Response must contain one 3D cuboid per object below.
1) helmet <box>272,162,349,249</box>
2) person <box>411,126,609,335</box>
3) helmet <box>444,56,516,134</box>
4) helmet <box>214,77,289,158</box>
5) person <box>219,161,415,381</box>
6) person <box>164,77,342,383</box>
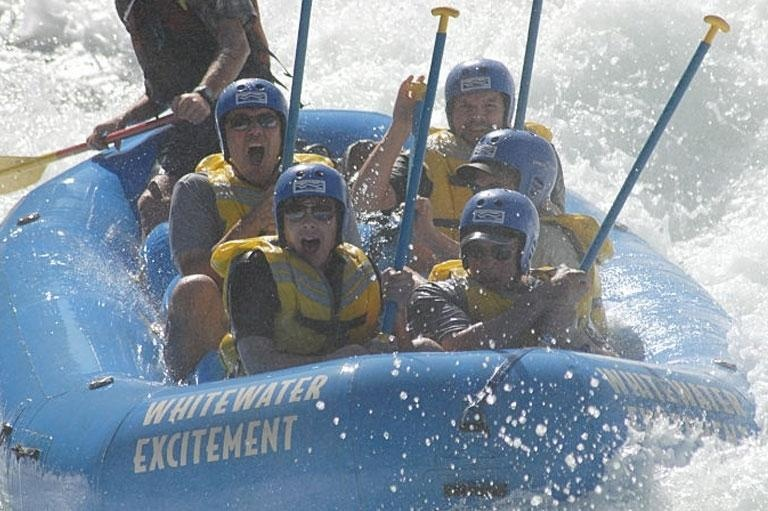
[{"bbox_3d":[-0.497,-0.281,8.370,0.410,0.536,0.499,-2,78,2],"label":"helmet"},{"bbox_3d":[0.933,-0.221,8.997,1.170,0.513,1.580,42,29,26],"label":"person"},{"bbox_3d":[0.720,-1.200,9.599,0.488,0.619,0.528,-5,86,10],"label":"helmet"},{"bbox_3d":[-0.960,-0.986,9.218,0.463,0.603,0.585,-4,67,-4],"label":"helmet"},{"bbox_3d":[-0.540,0.112,8.133,1.231,0.603,1.431,-3,84,-22],"label":"person"},{"bbox_3d":[-1.084,-0.317,8.504,1.317,0.625,1.841,0,65,-4],"label":"person"}]
